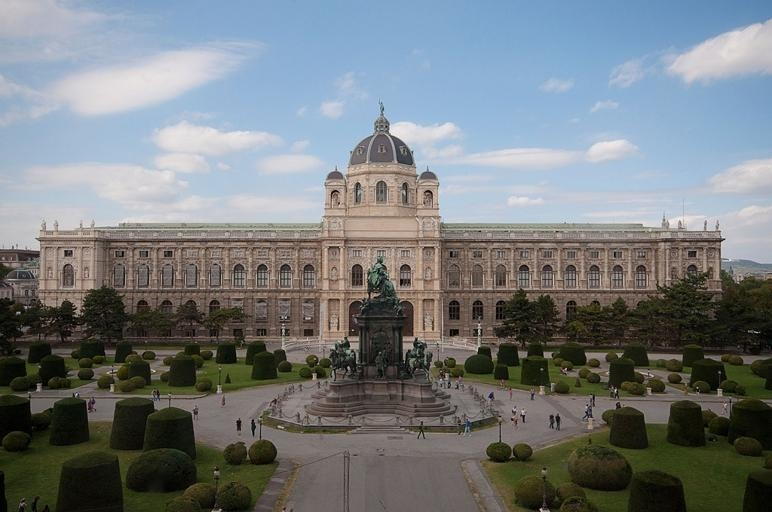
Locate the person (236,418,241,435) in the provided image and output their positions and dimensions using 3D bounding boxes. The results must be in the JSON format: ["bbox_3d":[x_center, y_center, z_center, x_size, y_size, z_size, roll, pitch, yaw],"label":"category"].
[{"bbox_3d":[-12.521,14.432,63.899,0.387,1.139,1.542,-1,-5,-11],"label":"person"}]

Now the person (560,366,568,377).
[{"bbox_3d":[20.609,13.203,85.886,0.910,0.788,0.401,-6,36,4],"label":"person"}]

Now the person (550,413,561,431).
[{"bbox_3d":[14.975,14.509,65.780,1.374,1.497,0.615,2,5,29],"label":"person"}]
